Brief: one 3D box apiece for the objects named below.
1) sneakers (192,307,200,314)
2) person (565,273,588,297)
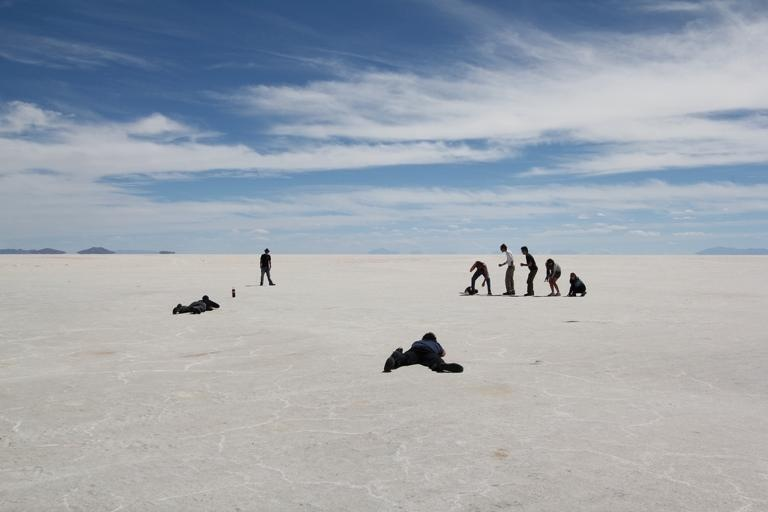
[{"bbox_3d":[-6.775,1.952,21.177,0.241,0.195,0.081,-3,15,-15],"label":"sneakers"},{"bbox_3d":[10.727,1.613,33.082,1.399,1.371,0.803,3,-16,5],"label":"person"}]
